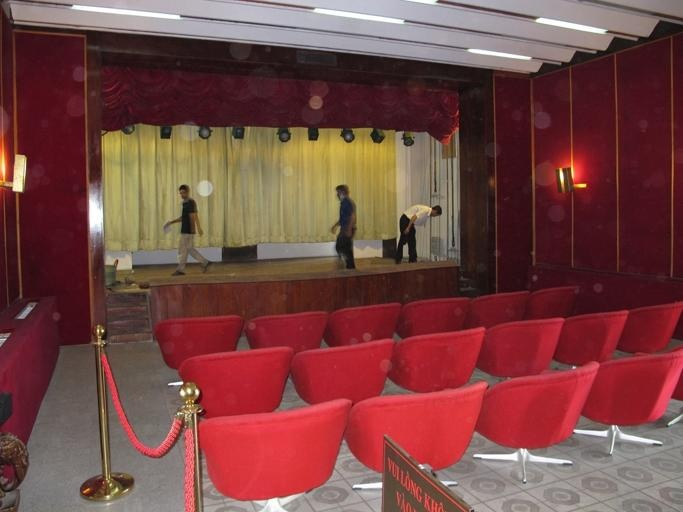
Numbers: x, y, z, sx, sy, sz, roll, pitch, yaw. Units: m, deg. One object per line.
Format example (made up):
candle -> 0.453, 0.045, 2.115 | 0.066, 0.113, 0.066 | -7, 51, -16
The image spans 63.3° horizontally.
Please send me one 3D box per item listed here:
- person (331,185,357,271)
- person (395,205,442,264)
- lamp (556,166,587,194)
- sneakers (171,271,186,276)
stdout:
person -> 0.017, -0.471, 9.171 | 0.371, 1.393, 0.815 | 0, 7, -1
person -> 1.423, -0.440, 10.274 | 0.726, 1.183, 0.529 | 7, 19, 3
lamp -> 3.441, -1.141, 8.310 | 0.386, 0.426, 0.310 | 7, 11, 41
sneakers -> -2.829, 0.297, 9.560 | 0.281, 0.132, 0.097 | 7, 6, 38
